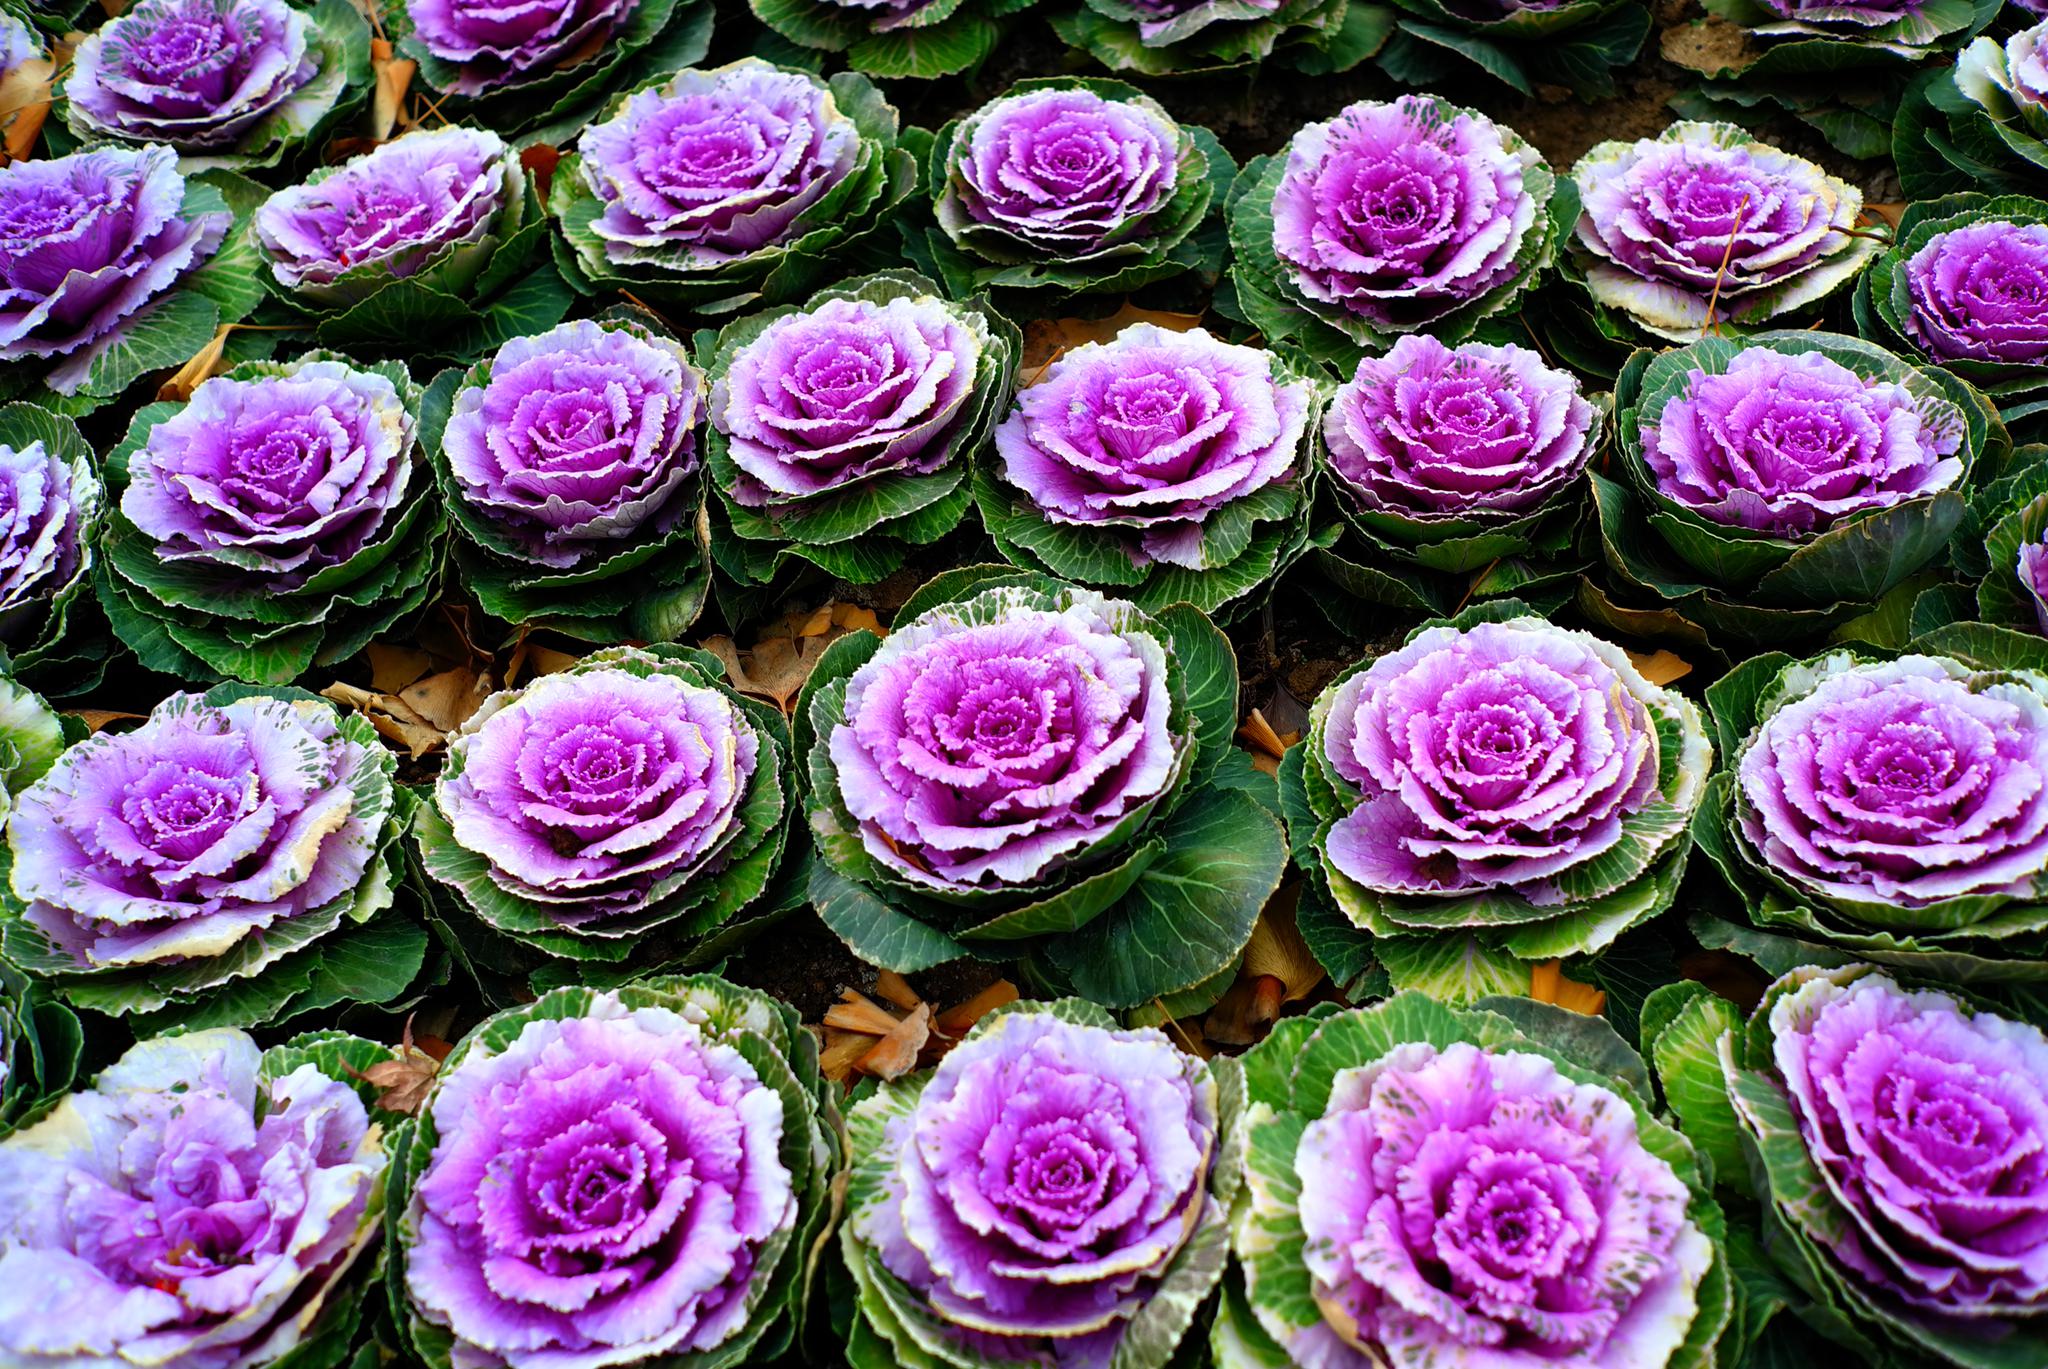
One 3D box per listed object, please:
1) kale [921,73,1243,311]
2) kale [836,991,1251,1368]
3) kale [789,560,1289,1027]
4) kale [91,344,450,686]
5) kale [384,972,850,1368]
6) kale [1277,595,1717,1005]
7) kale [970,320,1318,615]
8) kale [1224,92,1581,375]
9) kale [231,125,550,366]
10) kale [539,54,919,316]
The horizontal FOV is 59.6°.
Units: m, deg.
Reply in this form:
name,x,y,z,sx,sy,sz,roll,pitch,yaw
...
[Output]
name,x,y,z,sx,sy,sz,roll,pitch,yaw
kale,0.171,-1.426,5.122,0.679,0.302,0.699,-29,72,-21
kale,0.031,1.092,3.851,0.878,0.296,0.731,2,64,4
kale,0.006,0.324,4.273,0.924,0.655,1.041,4,36,19
kale,-2.021,-0.438,4.813,0.780,0.399,0.902,-20,73,-7
kale,-0.892,1.034,3.896,0.968,0.267,0.852,-4,64,1
kale,1.067,0.314,4.247,0.720,0.457,0.820,-8,35,-22
kale,0.333,-0.565,4.688,0.710,0.429,0.771,40,63,18
kale,1.037,-1.166,5.020,0.597,0.301,0.684,15,46,1
kale,-1.778,-1.268,5.185,0.713,0.392,0.701,-26,70,-19
kale,-0.829,-1.451,5.160,0.758,0.412,0.892,21,56,21
